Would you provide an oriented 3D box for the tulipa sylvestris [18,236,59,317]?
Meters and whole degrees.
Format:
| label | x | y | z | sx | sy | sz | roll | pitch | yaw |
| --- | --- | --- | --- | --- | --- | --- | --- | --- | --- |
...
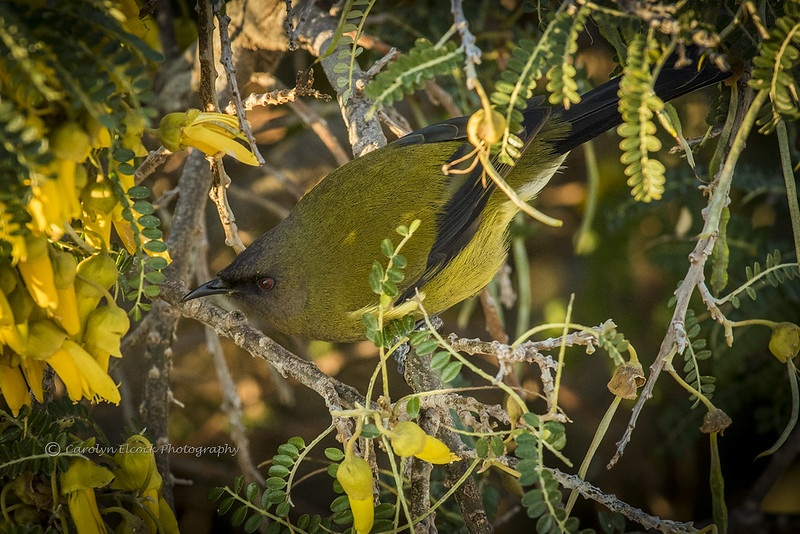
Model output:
| label | x | y | z | sx | sy | sz | roll | pitch | yaw |
| --- | --- | --- | --- | --- | --- | --- | --- | --- | --- |
| tulipa sylvestris | -1.127 | 0.026 | 2.831 | 0.133 | 0.197 | 0.084 | -24 | 16 | -7 |

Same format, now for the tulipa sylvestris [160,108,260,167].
| label | x | y | z | sx | sy | sz | roll | pitch | yaw |
| --- | --- | --- | --- | --- | --- | --- | --- | --- | --- |
| tulipa sylvestris | -0.657 | -0.428 | 3.063 | 0.272 | 0.255 | 0.212 | -23 | 16 | -6 |

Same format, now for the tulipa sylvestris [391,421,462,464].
| label | x | y | z | sx | sy | sz | roll | pitch | yaw |
| --- | --- | --- | --- | --- | --- | --- | --- | --- | --- |
| tulipa sylvestris | 0.075 | 0.570 | 2.936 | 0.108 | 0.230 | 0.101 | -28 | 46 | 49 |
